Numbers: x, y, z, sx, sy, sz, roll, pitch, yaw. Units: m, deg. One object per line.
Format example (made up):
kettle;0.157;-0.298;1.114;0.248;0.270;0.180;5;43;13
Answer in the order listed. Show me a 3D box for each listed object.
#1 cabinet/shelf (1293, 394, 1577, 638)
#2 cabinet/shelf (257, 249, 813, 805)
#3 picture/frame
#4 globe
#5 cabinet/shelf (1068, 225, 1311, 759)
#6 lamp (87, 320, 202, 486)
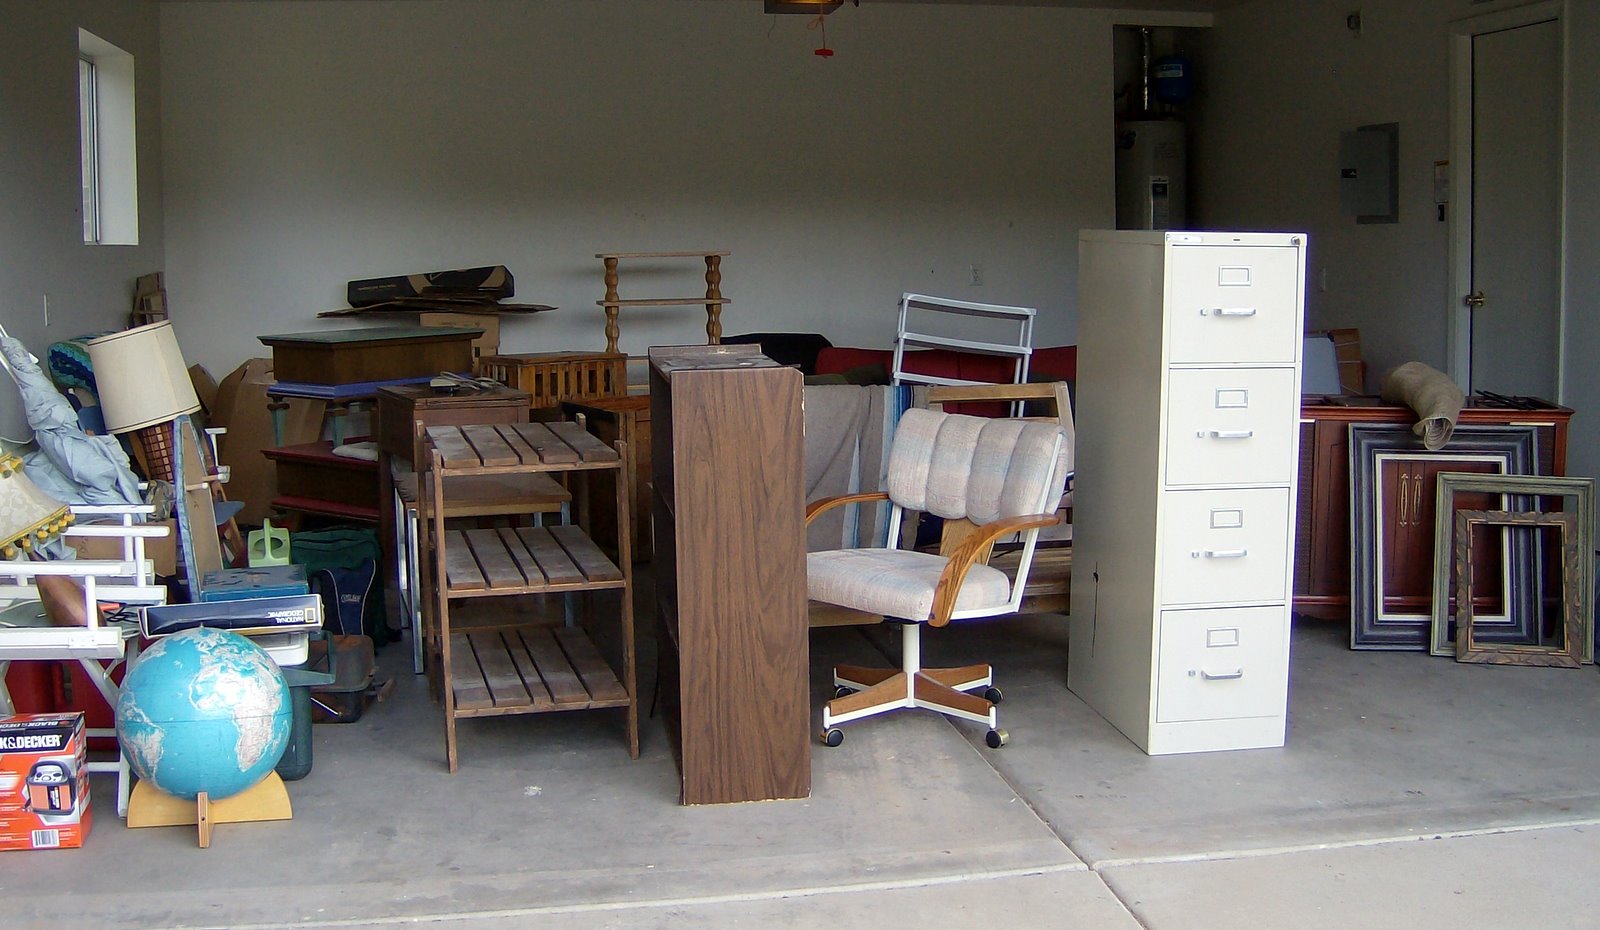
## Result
cabinet/shelf;3.479;0.279;6.486;1.585;1.261;0.522;0;1;-1
cabinet/shelf;-1.243;-0.225;8.021;2.072;2.522;6.546;-3;9;-8
picture/frame;3.632;0.469;6.441;1.511;1.506;0.124;1;-6;3
globe;-2.543;1.068;5.098;0.714;0.702;0.695;8;8;31
cabinet/shelf;1.750;0.101;5.505;1.009;2.380;0.718;2;11;17
lamp;-3.345;-0.327;6.046;0.440;0.774;0.263;-5;11;-16
